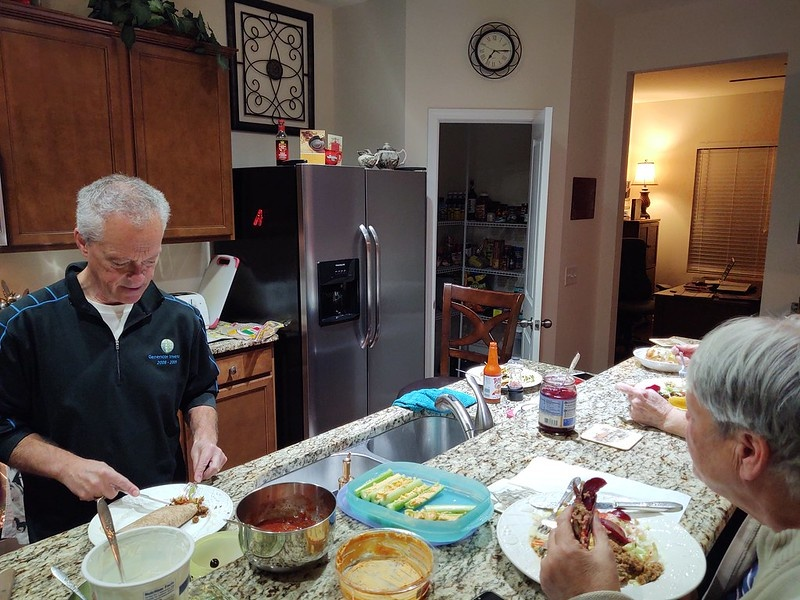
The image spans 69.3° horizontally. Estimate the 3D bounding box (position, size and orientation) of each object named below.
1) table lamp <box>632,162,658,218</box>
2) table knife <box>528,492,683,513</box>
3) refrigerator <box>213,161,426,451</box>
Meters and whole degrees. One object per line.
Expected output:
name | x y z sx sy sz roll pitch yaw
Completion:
table lamp | 3.269 -1.492 7.764 0.293 0.754 0.422 6 15 24
table knife | 0.543 0.545 1.550 0.473 0.026 0.084 2 18 3
refrigerator | -0.612 0.215 4.041 0.984 2.183 1.226 8 12 41
